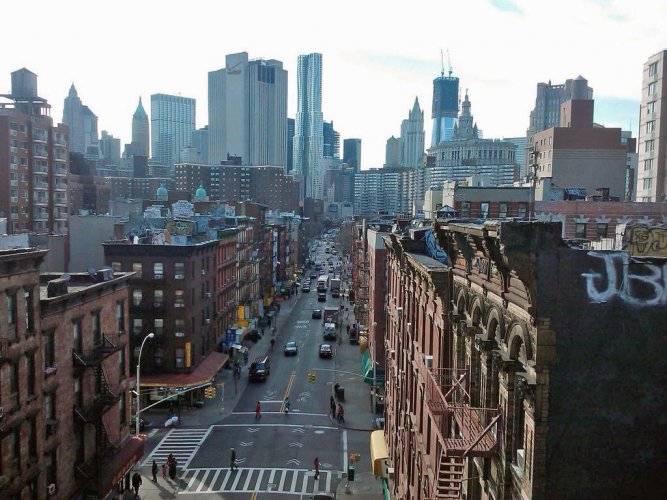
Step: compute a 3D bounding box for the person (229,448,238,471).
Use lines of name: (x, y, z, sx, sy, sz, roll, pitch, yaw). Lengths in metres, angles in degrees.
person: (-7.542, 15.685, 56.701, 0.507, 1.581, 2.103, 0, 5, -7)

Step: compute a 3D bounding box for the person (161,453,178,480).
person: (-11.813, 15.942, 54.802, 1.166, 1.870, 0.500, -4, -7, 38)

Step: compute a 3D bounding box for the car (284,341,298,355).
car: (-5.257, 12.344, 93.203, 1.612, 1.132, 2.111, 1, 5, 0)

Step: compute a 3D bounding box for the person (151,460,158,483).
person: (-12.990, 16.034, 54.450, 0.422, 1.498, 1.467, 0, 5, -14)

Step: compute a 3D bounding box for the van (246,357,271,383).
van: (-8.120, 13.110, 81.248, 1.653, 1.937, 3.684, 0, -3, 1)
